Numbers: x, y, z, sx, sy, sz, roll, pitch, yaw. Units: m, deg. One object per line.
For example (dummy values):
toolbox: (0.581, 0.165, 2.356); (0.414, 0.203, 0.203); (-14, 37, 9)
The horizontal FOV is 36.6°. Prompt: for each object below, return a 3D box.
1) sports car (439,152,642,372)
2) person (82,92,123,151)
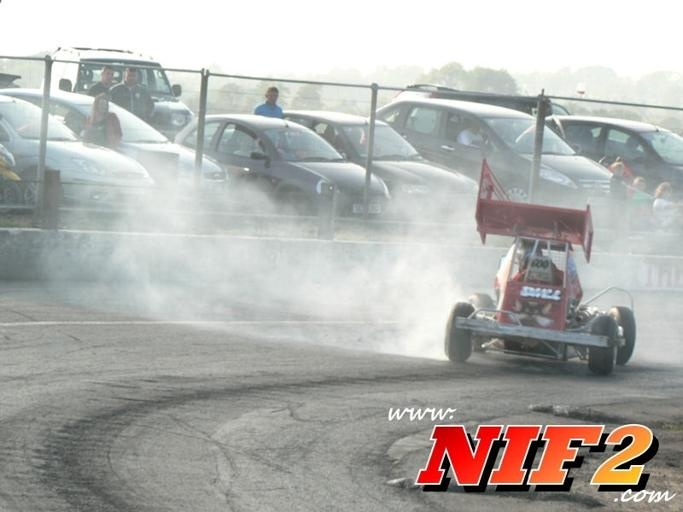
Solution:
sports car: (2.310, 0.109, 11.938); (1.838, 2.012, 2.970); (4, 7, 12)
person: (-3.576, -2.026, 15.458); (0.562, 0.800, 0.328); (-1, 12, -16)
